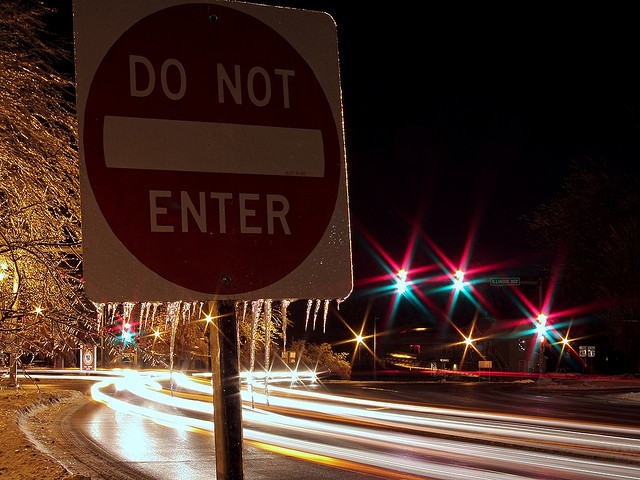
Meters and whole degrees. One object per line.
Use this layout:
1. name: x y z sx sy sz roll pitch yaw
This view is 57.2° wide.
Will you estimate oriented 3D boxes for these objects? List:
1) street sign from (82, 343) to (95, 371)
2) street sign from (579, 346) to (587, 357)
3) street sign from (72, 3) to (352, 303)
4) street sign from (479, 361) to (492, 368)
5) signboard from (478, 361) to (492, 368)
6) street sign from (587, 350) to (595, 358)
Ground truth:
1. street sign: -21.764 11.373 54.412 1.054 1.784 2.954 0 -8 -22
2. street sign: 24.258 10.399 54.018 1.373 1.666 0.195 -2 6 -44
3. street sign: -0.430 -0.290 2.136 0.934 1.171 0.045 -1 -6 -13
4. street sign: 14.530 11.158 51.697 0.998 0.667 2.896 -4 -8 12
5. signboard: 14.433 11.079 51.593 1.196 0.748 0.643 2 -9 15
6. street sign: 24.444 10.313 52.819 0.510 0.567 1.339 -5 -8 20
